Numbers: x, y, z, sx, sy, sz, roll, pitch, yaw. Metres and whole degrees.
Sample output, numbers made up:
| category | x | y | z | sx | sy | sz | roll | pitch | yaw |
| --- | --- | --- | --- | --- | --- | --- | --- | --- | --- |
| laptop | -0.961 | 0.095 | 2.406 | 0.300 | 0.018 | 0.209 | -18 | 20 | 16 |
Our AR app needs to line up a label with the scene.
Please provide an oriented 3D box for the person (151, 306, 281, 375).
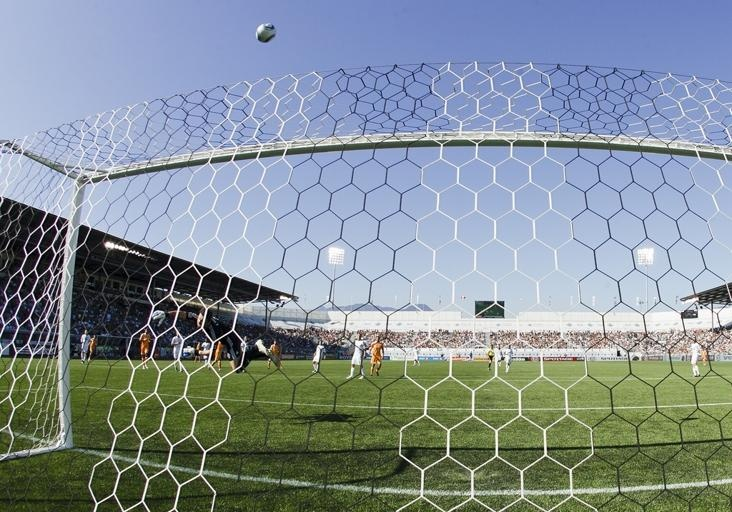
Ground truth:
| category | x | y | z | sx | sy | sz | roll | pitch | yaw |
| --- | --- | --- | --- | --- | --- | --- | --- | --- | --- |
| person | -2.440 | 1.387 | 9.116 | 2.253 | 0.754 | 1.048 | 22 | -25 | -21 |
